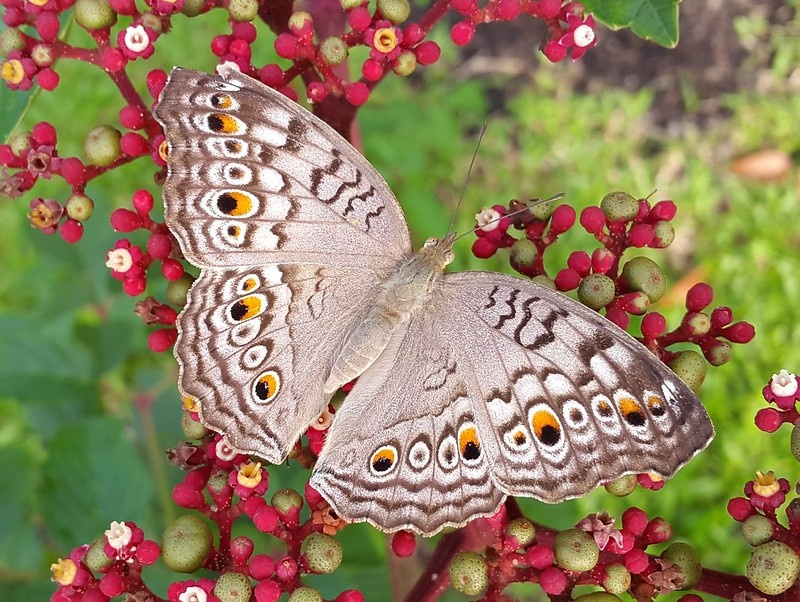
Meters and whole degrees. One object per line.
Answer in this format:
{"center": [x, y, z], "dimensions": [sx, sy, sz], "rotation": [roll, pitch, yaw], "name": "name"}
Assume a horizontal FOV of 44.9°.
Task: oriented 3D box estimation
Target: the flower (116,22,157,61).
{"center": [-1.192, -1.182, 4.404], "dimensions": [0.158, 0.142, 0.148], "rotation": [19, 83, 5], "name": "flower"}

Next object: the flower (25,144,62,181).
{"center": [-1.593, -0.630, 4.334], "dimensions": [0.147, 0.063, 0.146], "rotation": [-23, 109, -16], "name": "flower"}

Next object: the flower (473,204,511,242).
{"center": [0.442, -0.388, 4.653], "dimensions": [0.167, 0.078, 0.167], "rotation": [-40, 85, 12], "name": "flower"}

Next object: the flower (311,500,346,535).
{"center": [-0.323, 0.968, 4.333], "dimensions": [0.144, 0.064, 0.142], "rotation": [10, 80, -14], "name": "flower"}

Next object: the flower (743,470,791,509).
{"center": [1.623, 0.840, 4.334], "dimensions": [0.173, 0.079, 0.180], "rotation": [0, 77, 10], "name": "flower"}

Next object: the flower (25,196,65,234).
{"center": [-1.600, -0.401, 4.390], "dimensions": [0.139, 0.128, 0.145], "rotation": [23, 83, 5], "name": "flower"}

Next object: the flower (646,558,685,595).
{"center": [1.152, 1.192, 4.197], "dimensions": [0.129, 0.054, 0.140], "rotation": [10, 76, 4], "name": "flower"}

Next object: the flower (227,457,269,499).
{"center": [-0.668, 0.785, 4.321], "dimensions": [0.183, 0.102, 0.194], "rotation": [16, 46, 7], "name": "flower"}

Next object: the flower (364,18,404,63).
{"center": [-0.070, -1.196, 4.411], "dimensions": [0.172, 0.073, 0.173], "rotation": [3, 100, -7], "name": "flower"}

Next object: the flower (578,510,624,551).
{"center": [0.851, 0.995, 4.246], "dimensions": [0.149, 0.067, 0.146], "rotation": [41, 38, -14], "name": "flower"}
